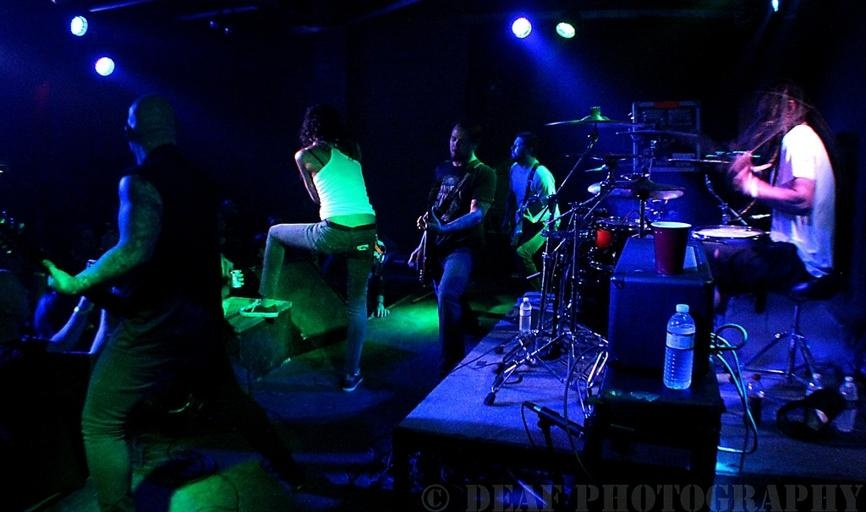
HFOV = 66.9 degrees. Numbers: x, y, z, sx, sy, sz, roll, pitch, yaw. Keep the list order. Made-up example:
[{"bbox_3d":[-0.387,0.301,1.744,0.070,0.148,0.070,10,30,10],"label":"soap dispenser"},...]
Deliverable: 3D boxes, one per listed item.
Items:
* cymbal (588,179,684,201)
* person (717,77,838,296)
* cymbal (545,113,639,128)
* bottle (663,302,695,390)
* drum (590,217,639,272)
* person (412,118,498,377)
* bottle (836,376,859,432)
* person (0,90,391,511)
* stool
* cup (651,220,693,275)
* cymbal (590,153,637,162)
[{"bbox_3d":[2.106,-0.677,6.804,0.615,0.094,0.612,7,-11,12],"label":"cymbal"},{"bbox_3d":[3.456,-0.632,6.623,1.100,2.115,0.654,-1,-6,22],"label":"person"},{"bbox_3d":[2.301,-1.908,9.240,1.032,0.225,1.037,6,10,34],"label":"cymbal"},{"bbox_3d":[1.891,0.702,5.018,0.238,0.655,0.159,0,-5,7],"label":"bottle"},{"bbox_3d":[1.951,-0.132,7.113,0.573,0.543,0.551,4,9,20],"label":"drum"},{"bbox_3d":[0.240,-0.095,6.998,0.803,2.659,0.470,1,-5,-4],"label":"person"},{"bbox_3d":[3.874,1.403,6.112,0.194,0.196,0.699,16,41,24],"label":"bottle"},{"bbox_3d":[-2.211,0.387,5.383,1.659,3.354,0.557,5,-6,-34],"label":"person"},{"bbox_3d":[3.709,0.776,6.854,0.920,1.092,0.923,-2,7,-43],"label":"stool"},{"bbox_3d":[1.880,-0.065,5.163,0.260,0.426,0.273,1,-5,0],"label":"cup"},{"bbox_3d":[1.758,-0.960,6.442,0.456,0.070,0.439,-1,8,6],"label":"cymbal"}]
